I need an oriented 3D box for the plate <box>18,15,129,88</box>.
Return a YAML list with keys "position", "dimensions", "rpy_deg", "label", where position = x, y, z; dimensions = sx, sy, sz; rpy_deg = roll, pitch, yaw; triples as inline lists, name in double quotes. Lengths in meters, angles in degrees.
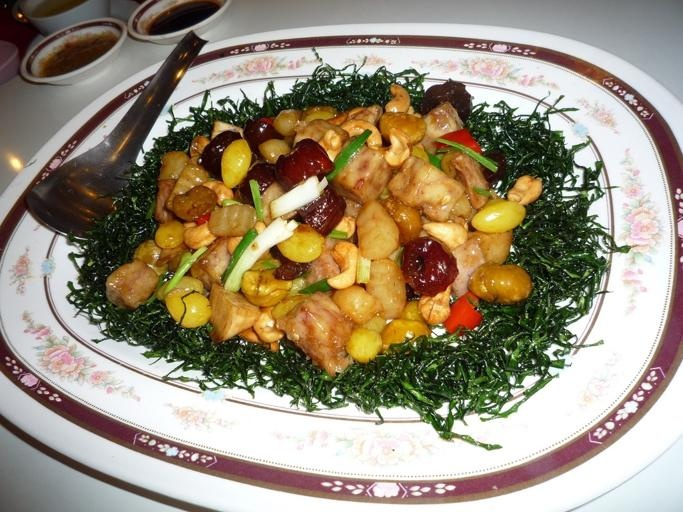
- position: [-2.588, -1.990, 5.632]
  dimensions: [0.975, 0.224, 0.817]
  rpy_deg: [15, 60, 27]
  label: "plate"
